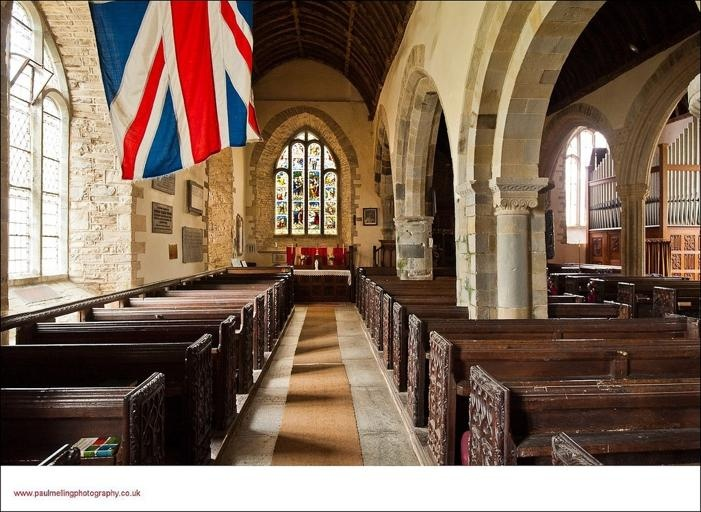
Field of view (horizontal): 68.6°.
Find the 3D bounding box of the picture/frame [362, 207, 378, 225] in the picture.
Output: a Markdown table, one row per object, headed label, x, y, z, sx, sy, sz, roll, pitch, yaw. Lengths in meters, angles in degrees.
| label | x | y | z | sx | sy | sz | roll | pitch | yaw |
| --- | --- | --- | --- | --- | --- | --- | --- | --- | --- |
| picture/frame | 0.508 | -1.094 | 14.042 | 0.454 | 0.547 | 0.042 | 0 | -5 | -7 |
